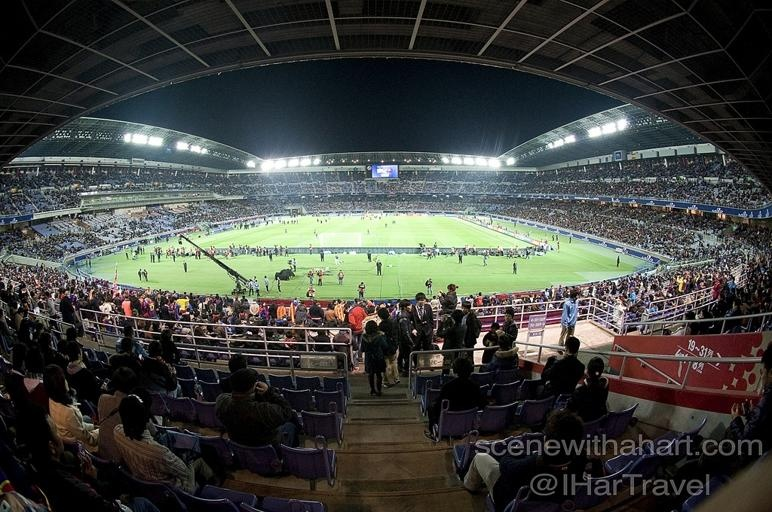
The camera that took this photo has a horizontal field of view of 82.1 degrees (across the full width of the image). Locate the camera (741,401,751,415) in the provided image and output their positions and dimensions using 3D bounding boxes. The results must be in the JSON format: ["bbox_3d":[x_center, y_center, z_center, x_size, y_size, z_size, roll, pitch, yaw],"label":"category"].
[{"bbox_3d":[7.586,3.192,9.362,0.207,0.082,0.357,12,32,25],"label":"camera"}]

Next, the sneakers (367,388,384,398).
[{"bbox_3d":[-0.281,3.778,12.199,0.487,0.175,0.147,1,-3,-30],"label":"sneakers"}]

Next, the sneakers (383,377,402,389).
[{"bbox_3d":[0.171,3.644,12.819,0.579,0.210,0.180,-10,13,-43],"label":"sneakers"}]
